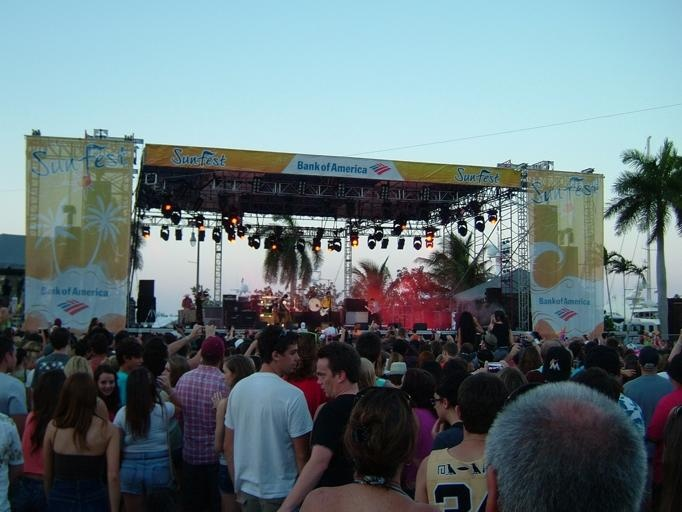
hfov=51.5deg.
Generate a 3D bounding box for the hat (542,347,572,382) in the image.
[{"bbox_3d":[2.115,1.080,6.950,0.274,0.342,0.527,1,-1,16],"label":"hat"}]

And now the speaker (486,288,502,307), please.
[{"bbox_3d":[5.295,1.413,24.626,0.492,0.605,0.535,0,-7,3],"label":"speaker"}]

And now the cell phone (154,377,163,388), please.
[{"bbox_3d":[-1.784,1.256,6.955,0.071,0.113,0.287,2,-1,-14],"label":"cell phone"}]
